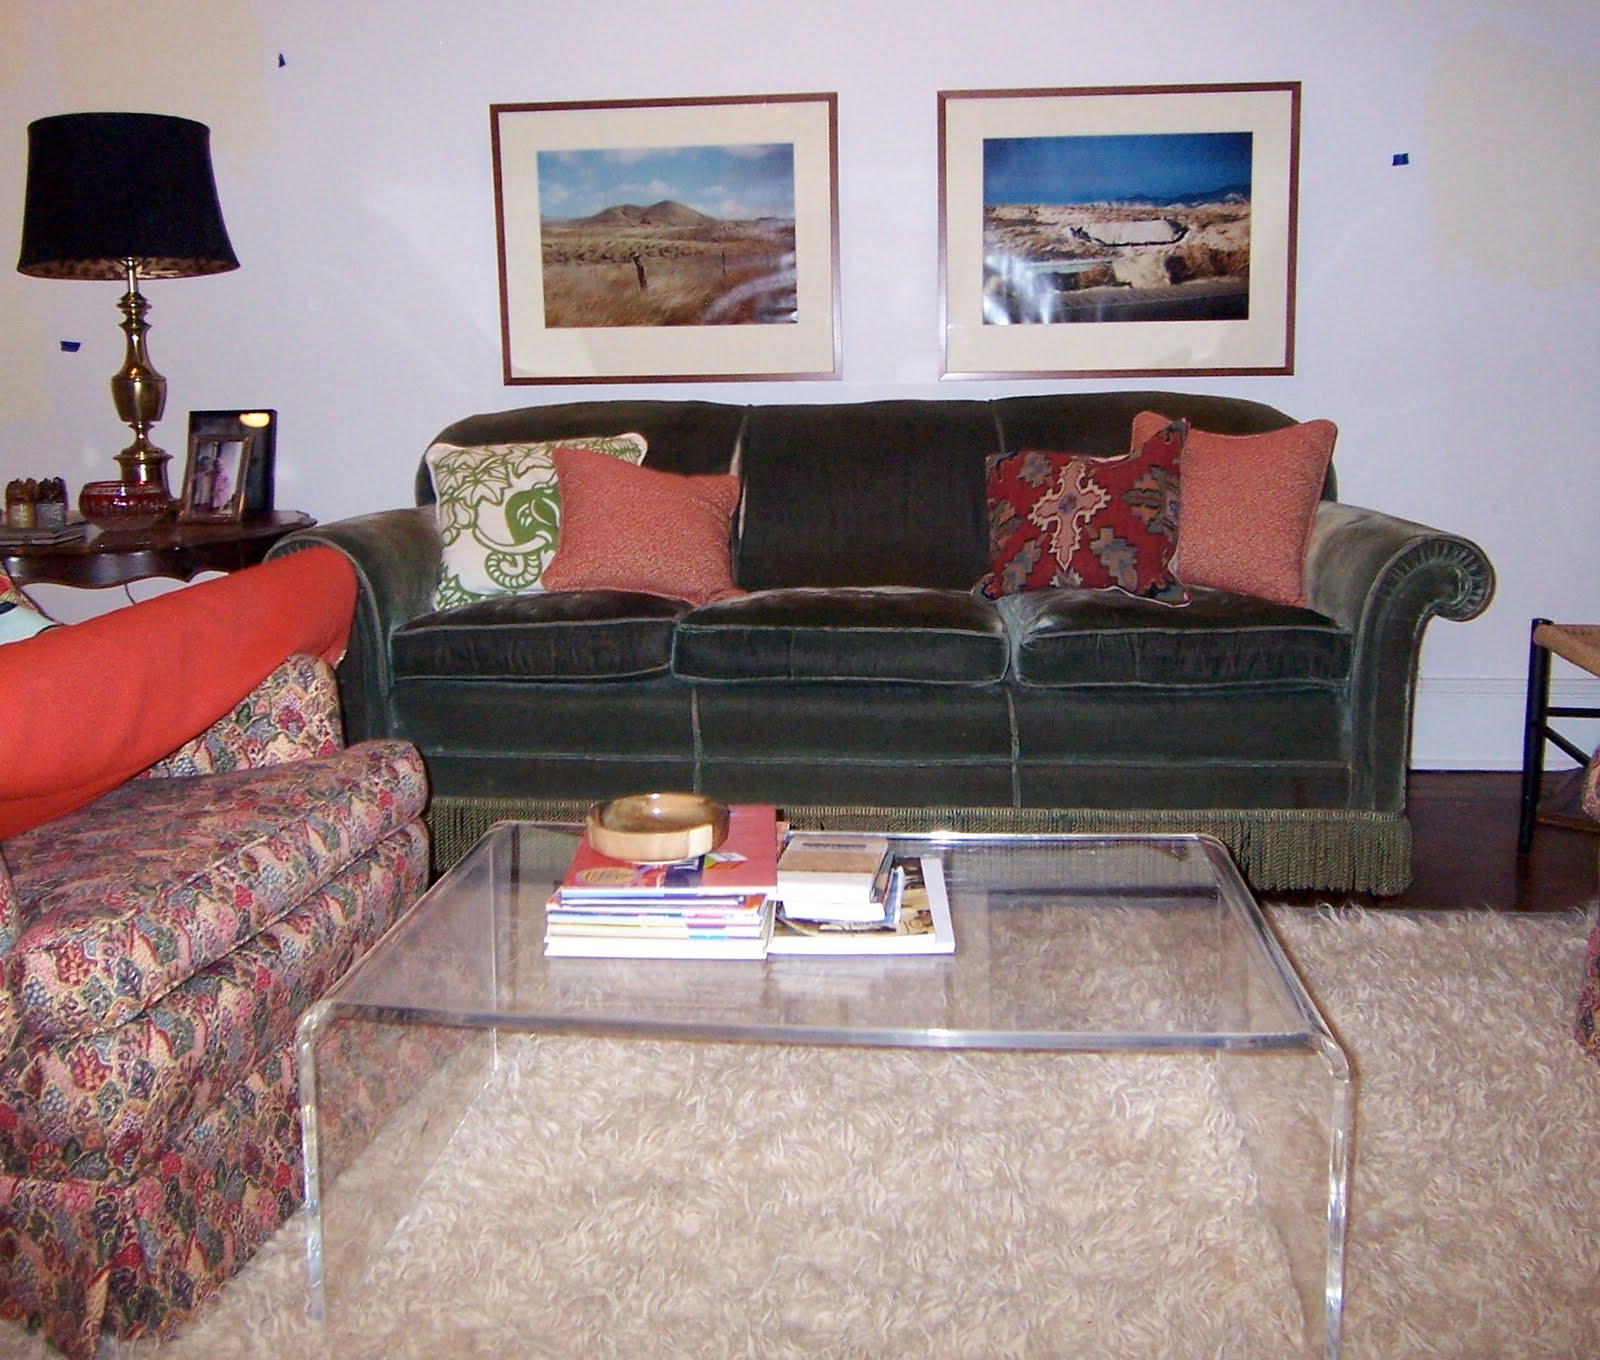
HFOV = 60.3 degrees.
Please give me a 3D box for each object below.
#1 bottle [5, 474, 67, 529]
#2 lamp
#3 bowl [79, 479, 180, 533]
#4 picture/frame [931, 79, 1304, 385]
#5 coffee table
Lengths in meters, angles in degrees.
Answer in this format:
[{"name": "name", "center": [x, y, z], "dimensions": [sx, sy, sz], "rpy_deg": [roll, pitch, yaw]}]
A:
[{"name": "bottle", "center": [-1.734, -0.400, 3.145], "dimensions": [0.126, 0.130, 0.133], "rpy_deg": [1, 1, -25]}, {"name": "lamp", "center": [-1.668, -0.934, 3.491], "dimensions": [0.474, 0.929, 0.531], "rpy_deg": [-7, 16, -21]}, {"name": "bowl", "center": [-1.646, -0.430, 3.371], "dimensions": [0.193, 0.074, 0.189], "rpy_deg": [4, 10, -1]}, {"name": "picture/frame", "center": [0.883, -1.240, 3.688], "dimensions": [0.839, 0.615, 0.028], "rpy_deg": [0, 15, 3]}, {"name": "coffee table", "center": [0.056, 0.439, 1.822], "dimensions": [1.142, 0.355, 0.776], "rpy_deg": [1, 15, 8]}]
